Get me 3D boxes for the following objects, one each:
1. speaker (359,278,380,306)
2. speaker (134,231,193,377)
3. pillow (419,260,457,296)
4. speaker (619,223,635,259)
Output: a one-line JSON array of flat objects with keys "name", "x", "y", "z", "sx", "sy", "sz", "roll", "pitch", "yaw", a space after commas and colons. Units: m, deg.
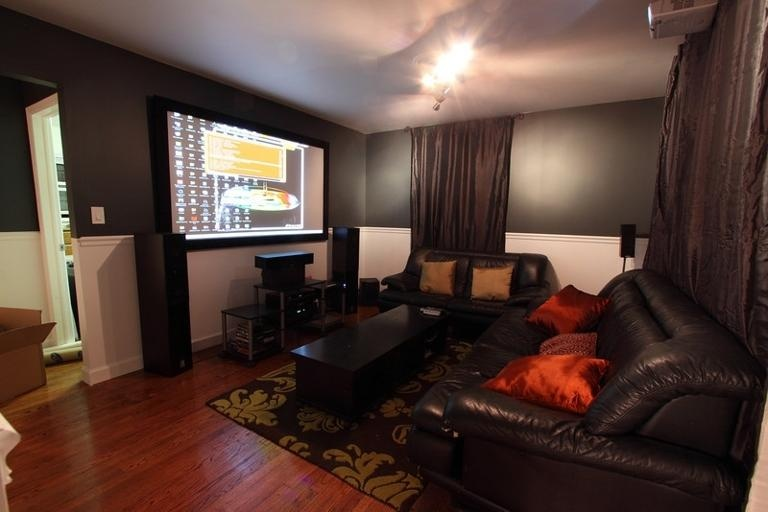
[{"name": "speaker", "x": -0.206, "y": 0.469, "z": 6.830, "sx": 0.345, "sy": 0.477, "sz": 0.339, "roll": 2, "pitch": 0, "yaw": -5}, {"name": "speaker", "x": -2.100, "y": 0.440, "z": 4.772, "sx": 0.483, "sy": 1.303, "sz": 0.245, "roll": 0, "pitch": 9, "yaw": 11}, {"name": "pillow", "x": 0.647, "y": 0.269, "z": 6.053, "sx": 0.405, "sy": 0.362, "sz": 0.148, "roll": -3, "pitch": -29, "yaw": 24}, {"name": "speaker", "x": 2.643, "y": -0.157, "z": 5.537, "sx": 0.150, "sy": 0.365, "sz": 0.183, "roll": 1, "pitch": 9, "yaw": 22}]
